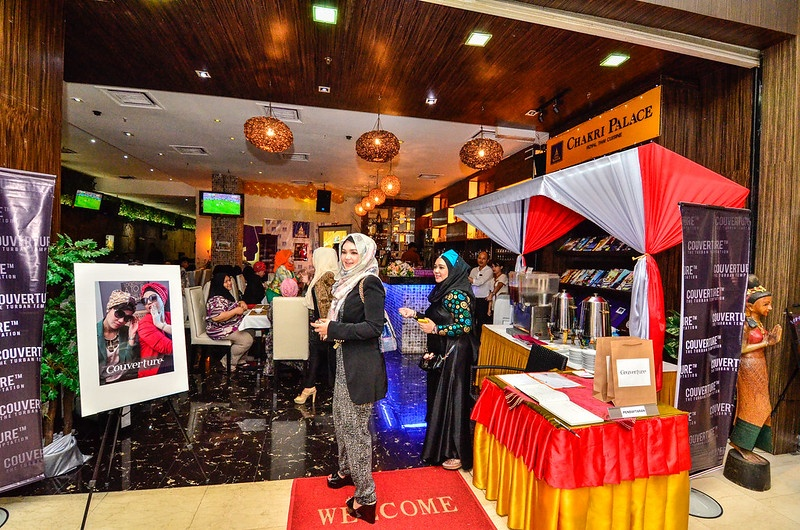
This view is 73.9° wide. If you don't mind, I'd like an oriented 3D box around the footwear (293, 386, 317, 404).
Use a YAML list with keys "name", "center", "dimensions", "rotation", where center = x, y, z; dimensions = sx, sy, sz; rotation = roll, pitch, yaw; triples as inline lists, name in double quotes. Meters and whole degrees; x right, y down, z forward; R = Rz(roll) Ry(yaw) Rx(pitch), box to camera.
- name: "footwear"
  center: [-1.153, 1.622, 6.536]
  dimensions: [0.278, 0.201, 0.150]
  rotation: [3, -4, -32]

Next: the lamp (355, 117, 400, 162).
- name: "lamp"
  center: [-0.309, -1.918, 7.365]
  dimensions: [0.550, 0.843, 0.555]
  rotation: [1, 6, 1]

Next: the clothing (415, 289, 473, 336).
- name: "clothing"
  center: [0.426, 0.494, 5.328]
  dimensions: [0.409, 0.495, 0.525]
  rotation: [6, -4, -30]

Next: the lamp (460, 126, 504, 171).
- name: "lamp"
  center: [1.232, -1.791, 8.027]
  dimensions: [0.546, 0.763, 0.550]
  rotation: [-11, -29, 35]

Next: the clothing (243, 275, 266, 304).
- name: "clothing"
  center: [-2.453, 0.416, 8.955]
  dimensions: [0.395, 0.581, 0.603]
  rotation: [-7, 5, -16]

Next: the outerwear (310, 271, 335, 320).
- name: "outerwear"
  center: [-0.948, 0.360, 6.433]
  dimensions: [0.339, 0.611, 0.461]
  rotation: [-3, 4, -7]

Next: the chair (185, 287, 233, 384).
- name: "chair"
  center: [-2.579, 0.895, 7.383]
  dimensions: [0.767, 1.130, 0.761]
  rotation: [0, 2, -26]

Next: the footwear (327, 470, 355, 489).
- name: "footwear"
  center: [-0.576, 2.089, 5.124]
  dimensions: [0.227, 0.081, 0.131]
  rotation: [10, -11, -29]

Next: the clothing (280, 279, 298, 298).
- name: "clothing"
  center: [-1.497, 0.320, 7.173]
  dimensions: [0.192, 0.248, 0.081]
  rotation: [1, 5, -16]

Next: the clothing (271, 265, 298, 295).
- name: "clothing"
  center: [-1.635, 0.218, 7.704]
  dimensions: [0.395, 0.406, 0.364]
  rotation: [3, 8, 22]

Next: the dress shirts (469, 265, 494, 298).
- name: "dress shirts"
  center: [1.414, 0.310, 9.094]
  dimensions: [0.348, 0.585, 0.475]
  rotation: [8, -11, -24]

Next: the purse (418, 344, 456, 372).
- name: "purse"
  center: [0.356, 0.961, 5.335]
  dimensions: [0.323, 0.116, 0.251]
  rotation: [-14, 13, 36]

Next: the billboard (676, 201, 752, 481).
- name: "billboard"
  center: [2.934, 0.716, 5.027]
  dimensions: [0.848, 2.547, 0.223]
  rotation: [2, -1, -25]

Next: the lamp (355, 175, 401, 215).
- name: "lamp"
  center: [-0.367, -1.520, 11.162]
  dimensions: [0.493, 0.475, 1.797]
  rotation: [7, -11, -19]

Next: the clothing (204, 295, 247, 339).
- name: "clothing"
  center: [-2.307, 0.724, 7.134]
  dimensions: [0.539, 0.574, 0.619]
  rotation: [-1, -1, -15]

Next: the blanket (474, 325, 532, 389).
- name: "blanket"
  center: [1.334, 0.964, 6.452]
  dimensions: [0.648, 0.434, 0.380]
  rotation: [-13, 9, -40]

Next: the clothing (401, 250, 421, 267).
- name: "clothing"
  center: [0.240, -0.111, 11.759]
  dimensions: [0.402, 0.412, 0.225]
  rotation: [3, 14, 10]

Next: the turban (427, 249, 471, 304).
- name: "turban"
  center: [0.591, 0.063, 5.549]
  dimensions: [0.413, 0.402, 0.277]
  rotation: [-21, 15, -16]

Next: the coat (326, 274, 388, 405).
- name: "coat"
  center: [-0.425, 0.700, 5.025]
  dimensions: [0.675, 1.151, 0.827]
  rotation: [3, -6, -19]

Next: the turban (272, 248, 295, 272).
- name: "turban"
  center: [-1.733, -0.077, 7.933]
  dimensions: [0.340, 0.367, 0.376]
  rotation: [2, -10, -18]
